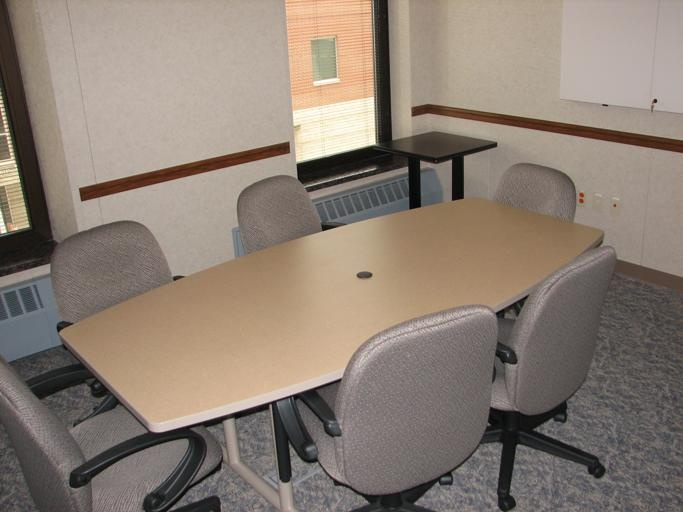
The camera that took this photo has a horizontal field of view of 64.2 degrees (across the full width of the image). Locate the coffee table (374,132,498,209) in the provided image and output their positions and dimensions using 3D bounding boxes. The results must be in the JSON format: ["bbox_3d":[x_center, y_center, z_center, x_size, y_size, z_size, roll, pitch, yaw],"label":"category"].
[{"bbox_3d":[0.830,-0.898,4.943,0.858,0.852,0.847,-26,37,-36],"label":"coffee table"}]
